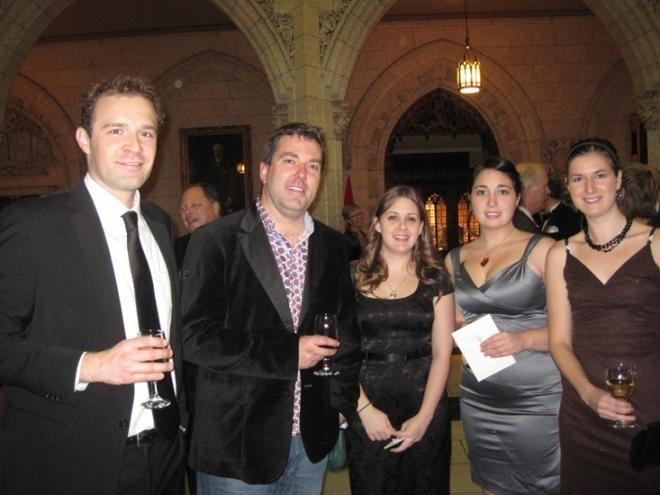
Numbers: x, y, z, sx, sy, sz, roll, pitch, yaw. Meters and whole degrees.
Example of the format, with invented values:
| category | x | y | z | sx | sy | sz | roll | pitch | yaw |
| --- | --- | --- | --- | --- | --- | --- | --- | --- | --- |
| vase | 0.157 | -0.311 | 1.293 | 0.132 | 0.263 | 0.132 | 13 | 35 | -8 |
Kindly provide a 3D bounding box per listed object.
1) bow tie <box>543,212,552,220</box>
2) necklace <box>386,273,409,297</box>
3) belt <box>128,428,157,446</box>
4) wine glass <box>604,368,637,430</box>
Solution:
| category | x | y | z | sx | sy | sz | roll | pitch | yaw |
| --- | --- | --- | --- | --- | --- | --- | --- | --- | --- |
| bow tie | 2.236 | -0.323 | 6.091 | 0.084 | 0.093 | 0.094 | 0 | 0 | -38 |
| necklace | 0.411 | 0.233 | 3.602 | 0.131 | 0.125 | 0.033 | -6 | -20 | 13 |
| belt | -0.872 | 0.884 | 2.743 | 0.076 | 0.028 | 0.079 | -10 | 5 | -41 |
| wine glass | 1.558 | 0.812 | 3.164 | 0.119 | 0.369 | 0.251 | -2 | -3 | 30 |
